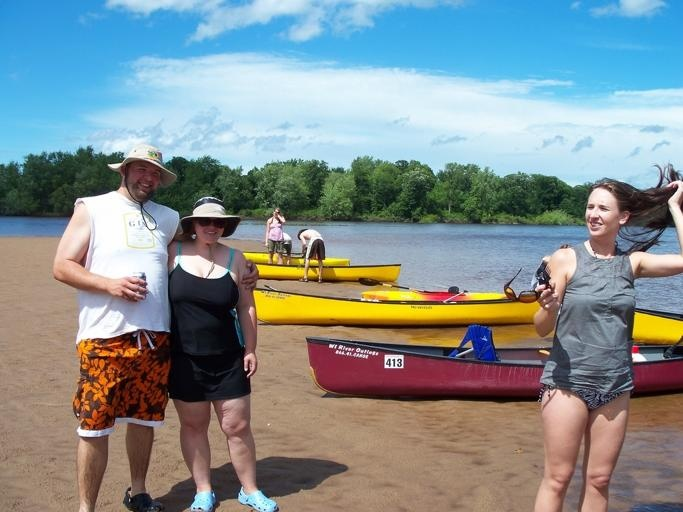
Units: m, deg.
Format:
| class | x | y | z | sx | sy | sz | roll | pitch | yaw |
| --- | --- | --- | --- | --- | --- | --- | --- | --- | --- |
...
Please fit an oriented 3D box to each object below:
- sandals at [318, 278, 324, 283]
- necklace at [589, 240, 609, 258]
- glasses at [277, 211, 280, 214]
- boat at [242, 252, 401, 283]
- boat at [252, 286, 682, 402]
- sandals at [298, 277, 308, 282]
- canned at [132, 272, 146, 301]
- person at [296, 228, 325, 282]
| class | x | y | z | sx | sy | sz | roll | pitch | yaw |
| --- | --- | --- | --- | --- | --- | --- | --- | --- | --- |
| sandals | -0.557 | 0.652 | 19.021 | 0.178 | 0.172 | 0.114 | 2 | 4 | -43 |
| necklace | 1.755 | -0.047 | 4.810 | 0.149 | 0.128 | 0.099 | 1 | -12 | 8 |
| glasses | -1.729 | -1.187 | 19.418 | 0.058 | 0.065 | 0.023 | 5 | -31 | -40 |
| boat | -0.530 | 0.331 | 19.470 | 4.899 | 0.731 | 1.061 | 2 | -1 | -5 |
| boat | 1.328 | 1.139 | 8.957 | 6.529 | 1.285 | 1.496 | 1 | -2 | -10 |
| sandals | -1.013 | 0.628 | 18.913 | 0.247 | 0.138 | 0.104 | 10 | 7 | 34 |
| canned | -1.437 | 0.211 | 5.032 | 0.090 | 0.182 | 0.168 | 1 | 8 | -16 |
| person | -0.810 | -0.006 | 18.815 | 0.716 | 1.435 | 1.874 | 3 | 7 | -3 |
